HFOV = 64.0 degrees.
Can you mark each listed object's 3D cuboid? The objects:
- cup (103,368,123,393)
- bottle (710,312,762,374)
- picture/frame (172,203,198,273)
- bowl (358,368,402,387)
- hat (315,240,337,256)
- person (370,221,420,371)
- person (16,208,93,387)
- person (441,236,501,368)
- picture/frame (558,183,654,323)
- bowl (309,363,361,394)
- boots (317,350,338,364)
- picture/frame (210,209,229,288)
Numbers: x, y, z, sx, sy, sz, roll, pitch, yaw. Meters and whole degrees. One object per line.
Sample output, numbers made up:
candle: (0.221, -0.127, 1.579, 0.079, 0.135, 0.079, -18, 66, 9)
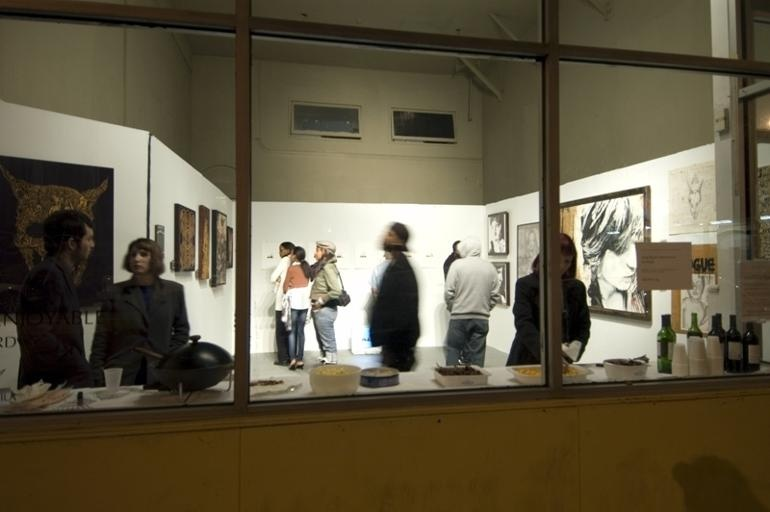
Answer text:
cup: (-1.406, 0.642, 3.192, 0.093, 0.115, 0.098, 1, -11, 0)
bottle: (2.026, 0.519, 3.556, 0.268, 0.379, 0.094, 4, -11, -11)
picture/frame: (-1.115, -0.099, 3.437, 0.032, 0.368, 0.174, 2, 1, 12)
bowl: (-0.025, 0.662, 3.362, 0.210, 0.097, 0.112, -1, -4, -3)
hat: (-0.321, -0.045, 3.396, 0.082, 0.030, 0.077, 13, -5, 18)
person: (0.054, 0.328, 3.631, 0.320, 1.048, 0.275, -12, 28, -28)
person: (-1.764, 0.431, 3.360, 0.410, 1.349, 0.425, 3, 18, -26)
person: (0.513, 0.363, 3.662, 0.305, 0.948, 0.226, 3, 11, 0)
picture/frame: (1.240, 0.018, 3.468, 0.684, 0.877, 0.054, -1, -6, -6)
bowl: (-0.258, 0.664, 3.278, 0.171, 0.091, 0.166, 1, -5, 0)
boots: (-0.305, 0.557, 3.350, 0.116, 0.089, 0.042, 3, -4, -6)
picture/frame: (-0.865, -0.038, 3.207, 0.072, 0.400, 0.167, 2, -5, -34)
